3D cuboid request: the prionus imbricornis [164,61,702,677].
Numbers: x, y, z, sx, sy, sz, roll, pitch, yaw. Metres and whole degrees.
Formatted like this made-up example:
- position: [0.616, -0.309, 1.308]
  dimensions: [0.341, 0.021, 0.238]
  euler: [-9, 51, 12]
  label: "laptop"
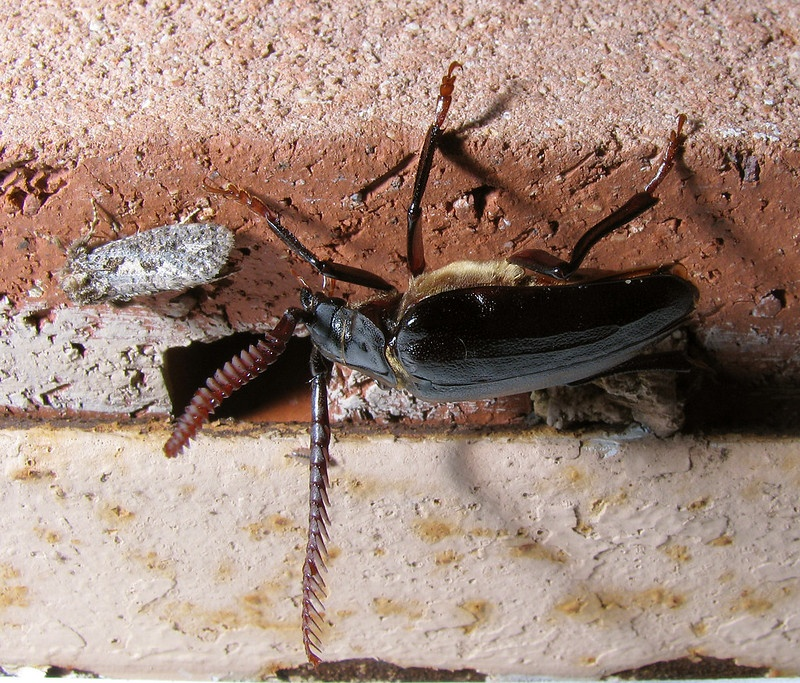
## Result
- position: [0.105, -0.027, 1.938]
  dimensions: [1.386, 0.322, 0.826]
  euler: [1, -60, 9]
  label: "prionus imbricornis"
